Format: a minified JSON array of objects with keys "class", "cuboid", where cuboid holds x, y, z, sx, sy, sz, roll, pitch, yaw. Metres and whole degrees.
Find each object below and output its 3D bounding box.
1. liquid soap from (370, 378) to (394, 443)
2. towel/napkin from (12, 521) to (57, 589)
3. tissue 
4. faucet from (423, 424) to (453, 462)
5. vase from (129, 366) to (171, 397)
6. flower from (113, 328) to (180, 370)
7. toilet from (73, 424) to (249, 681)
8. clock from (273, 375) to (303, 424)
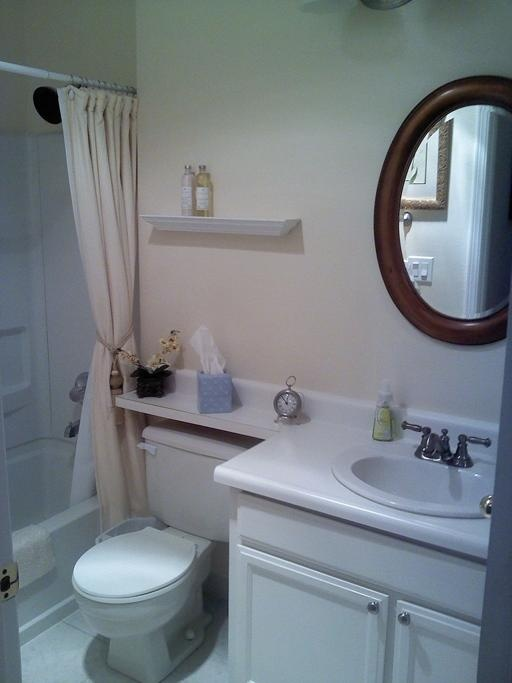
[{"class":"liquid soap","cuboid":[0.364,0.193,1.483,0.087,0.163,0.051,-11,14,-37]},{"class":"towel/napkin","cuboid":[-0.760,0.722,1.781,0.084,0.169,0.139,4,13,31]},{"class":"tissue ","cuboid":[-0.149,0.088,1.820,0.136,0.288,0.222,-4,11,-4]},{"class":"faucet","cuboid":[0.463,0.266,1.374,0.069,0.087,0.072,17,30,37]},{"class":"vase","cuboid":[-0.383,0.143,1.966,0.112,0.086,0.122,1,6,2]},{"class":"flower","cuboid":[-0.391,0.038,2.009,0.242,0.166,0.227,1,12,18]},{"class":"toilet","cuboid":[-0.394,0.709,1.894,0.465,0.893,0.765,3,3,29]},{"class":"clock","cuboid":[0.103,0.187,1.676,0.109,0.202,0.042,5,7,32]}]
